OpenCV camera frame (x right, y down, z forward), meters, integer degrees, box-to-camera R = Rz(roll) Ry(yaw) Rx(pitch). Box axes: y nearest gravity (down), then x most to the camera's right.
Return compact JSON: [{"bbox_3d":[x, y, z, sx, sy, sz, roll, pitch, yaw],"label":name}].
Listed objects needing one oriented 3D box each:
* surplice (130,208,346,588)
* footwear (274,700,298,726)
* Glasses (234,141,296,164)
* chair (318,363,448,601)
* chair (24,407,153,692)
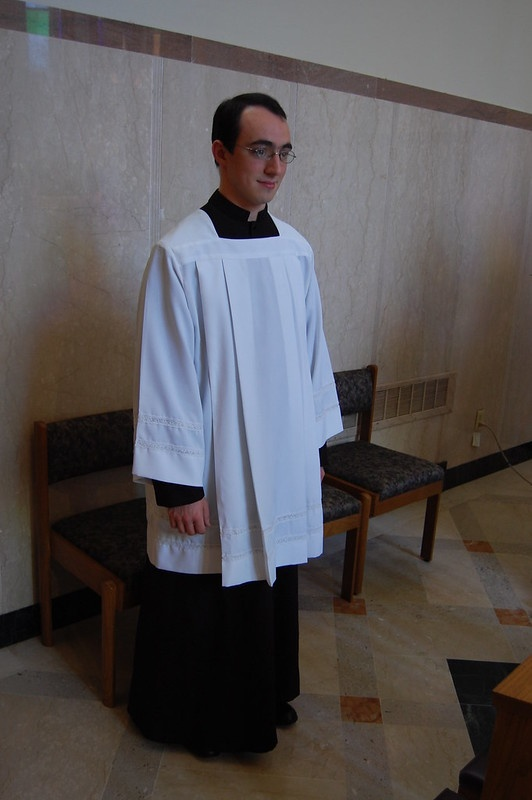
[{"bbox_3d":[-0.040,-0.004,1.412,0.517,0.760,0.259,-2,12,-22],"label":"surplice"},{"bbox_3d":[0.050,0.802,1.680,0.052,0.013,0.055,-2,67,-26],"label":"footwear"},{"bbox_3d":[0.008,-0.473,1.262,0.111,0.037,0.033,-6,14,-35],"label":"Glasses"},{"bbox_3d":[0.402,0.288,2.604,0.510,0.755,0.476,14,20,37],"label":"chair"},{"bbox_3d":[-0.416,0.423,1.934,0.466,0.680,0.460,-8,21,-39],"label":"chair"}]
